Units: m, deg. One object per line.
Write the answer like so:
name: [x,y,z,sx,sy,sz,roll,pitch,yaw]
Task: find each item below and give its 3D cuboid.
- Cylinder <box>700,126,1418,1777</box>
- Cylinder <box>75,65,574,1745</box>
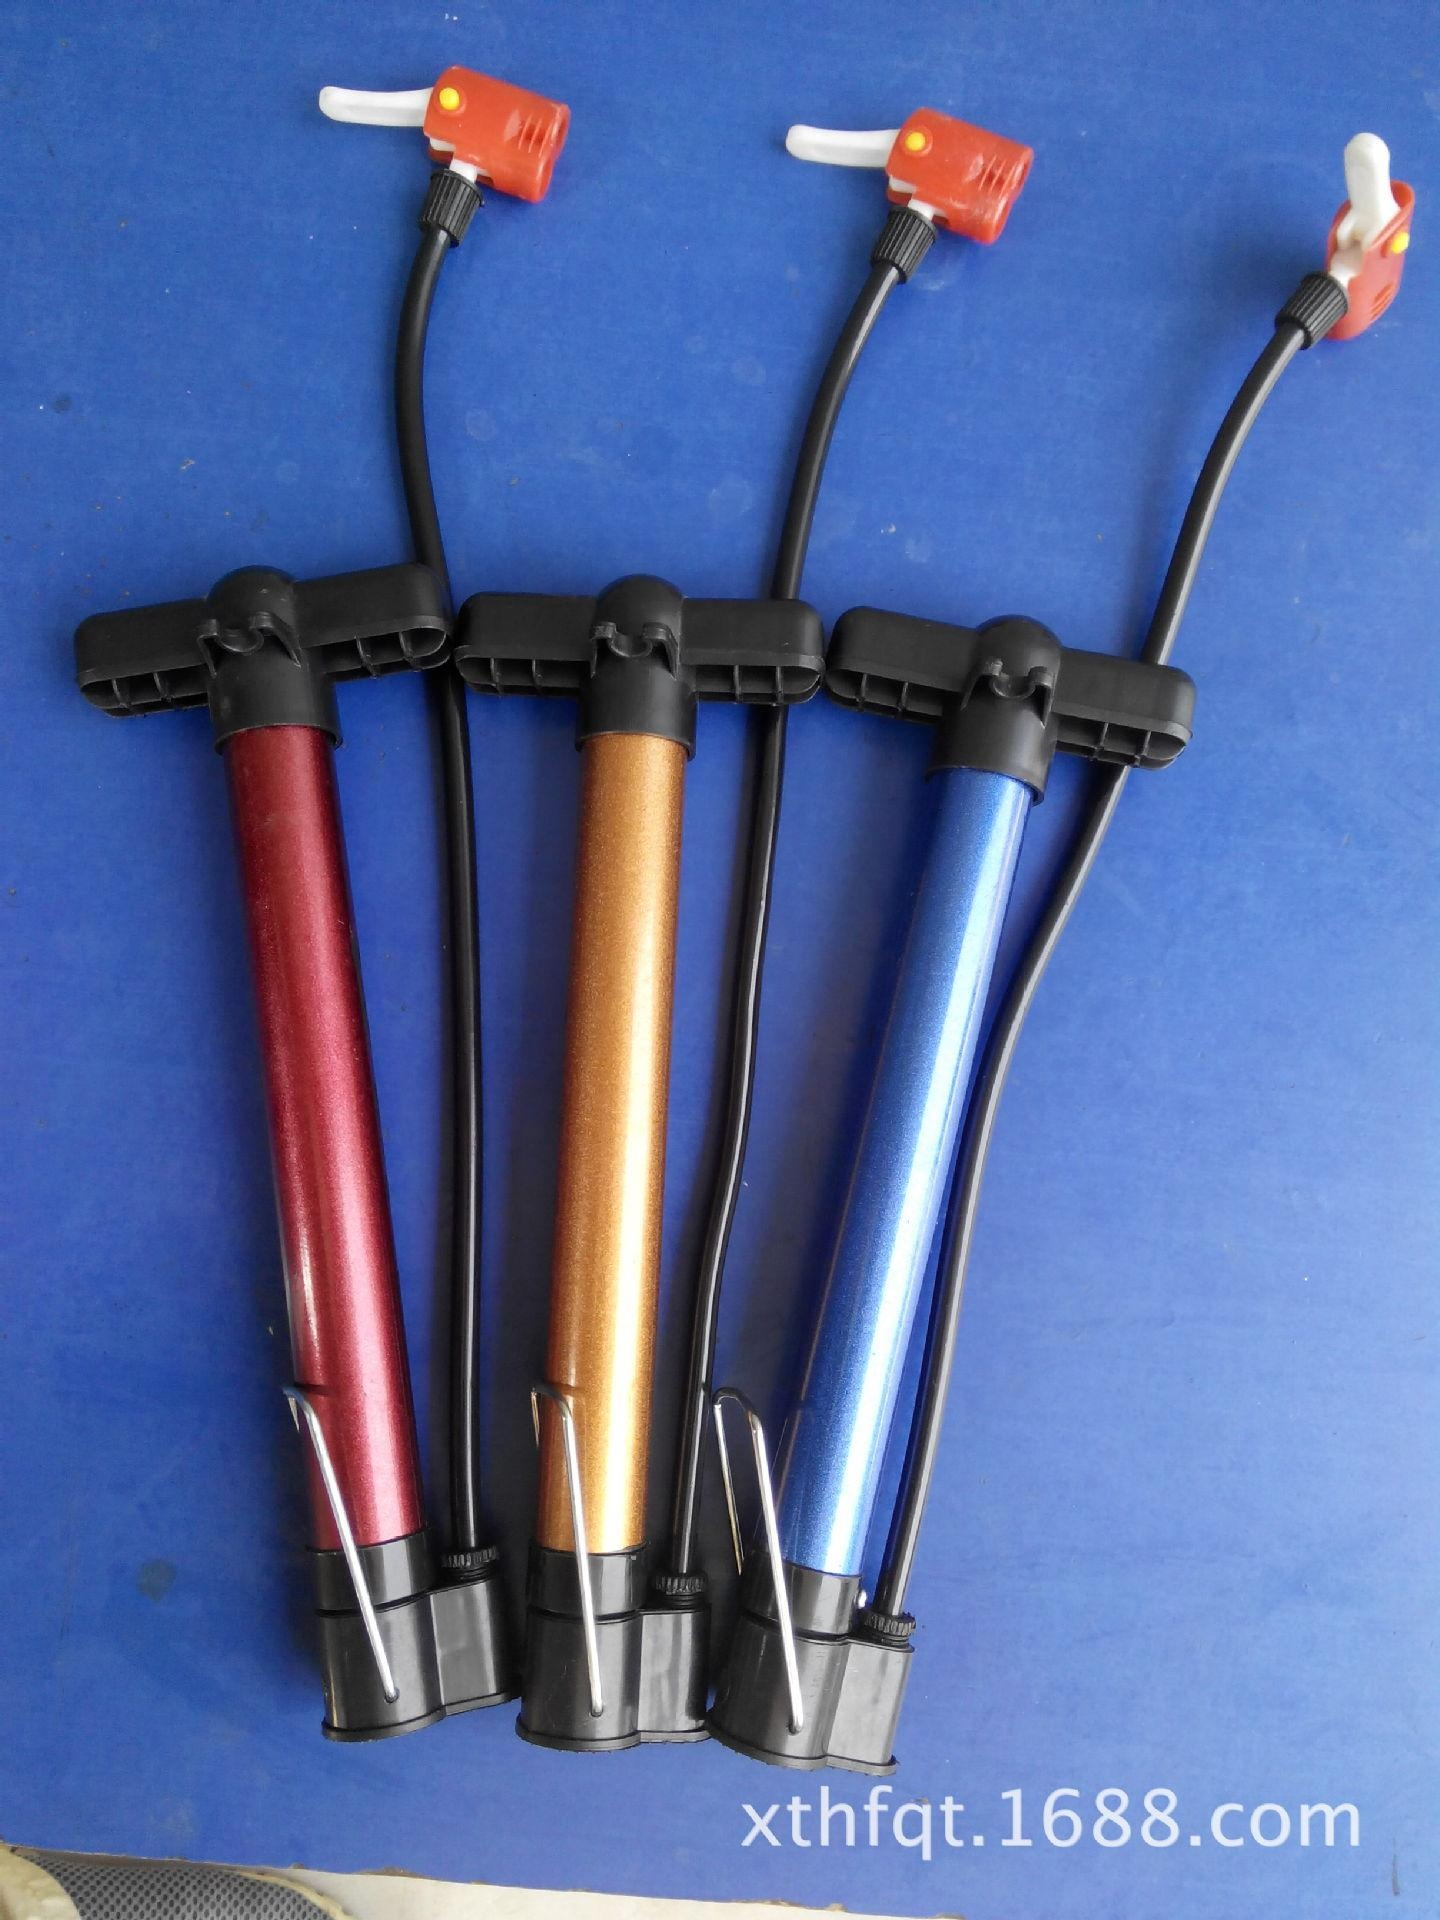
Cylinder: [0.192,-0.052,1.495,0.343,0.181,0.993,10,-94,-5]
Cylinder: [-0.224,-0.029,1.451,0.314,0.143,0.893,-7,-91,-7]
